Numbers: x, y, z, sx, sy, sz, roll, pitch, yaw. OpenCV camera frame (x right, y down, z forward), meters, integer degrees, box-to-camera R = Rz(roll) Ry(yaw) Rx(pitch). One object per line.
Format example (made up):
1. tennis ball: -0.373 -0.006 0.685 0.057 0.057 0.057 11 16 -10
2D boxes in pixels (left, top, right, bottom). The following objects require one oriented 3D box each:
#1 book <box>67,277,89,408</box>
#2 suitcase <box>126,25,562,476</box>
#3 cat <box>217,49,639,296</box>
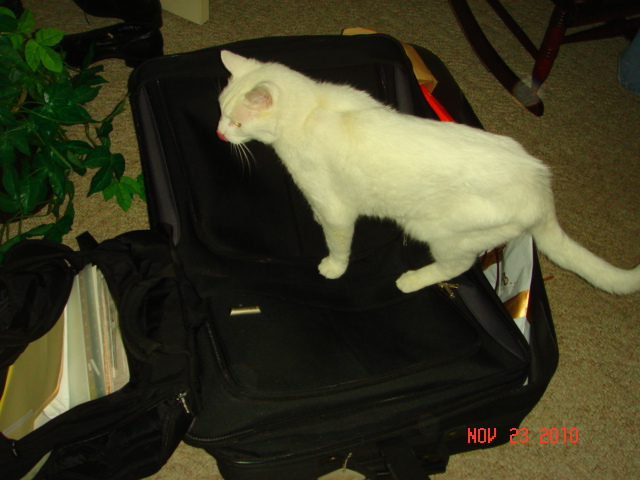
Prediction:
1. book: -0.580 0.233 1.373 0.049 0.039 0.345 12 48 -31
2. suitcase: -0.078 -0.075 1.586 1.012 0.440 1.353 -6 69 -13
3. cat: 0.291 -0.167 1.588 1.151 0.572 0.304 14 64 8
